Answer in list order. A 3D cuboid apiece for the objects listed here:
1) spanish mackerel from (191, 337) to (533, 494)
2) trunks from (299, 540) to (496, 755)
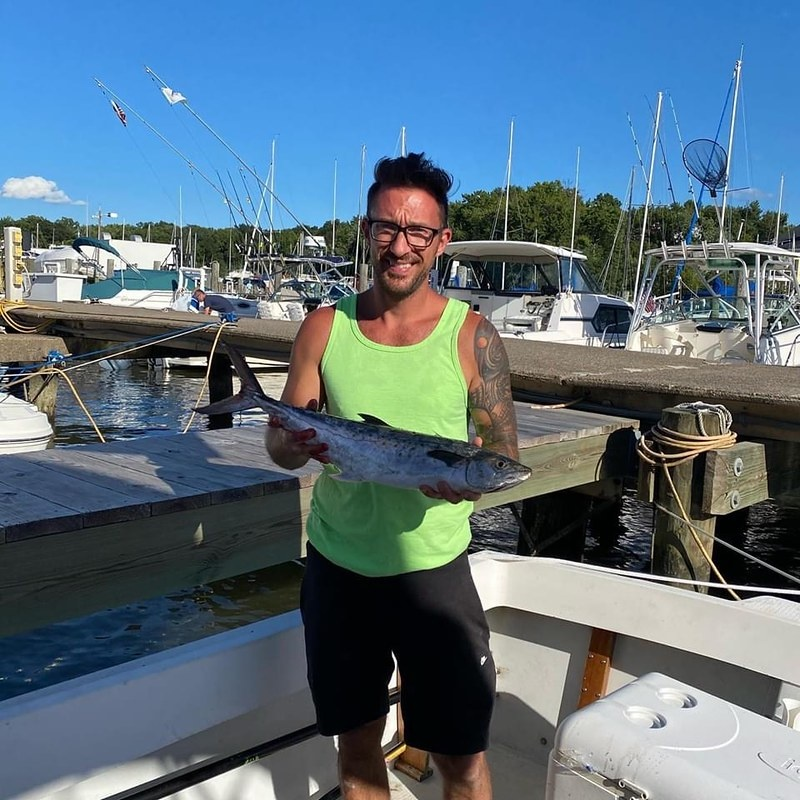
[{"bbox_3d":[-0.128,0.081,1.815,0.957,0.266,0.242,7,11,31],"label":"spanish mackerel"},{"bbox_3d":[-0.012,0.663,1.844,0.516,0.496,0.167,2,9,6],"label":"trunks"}]
